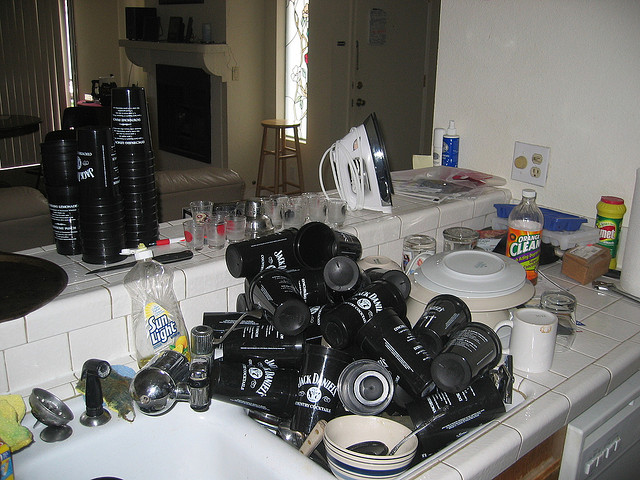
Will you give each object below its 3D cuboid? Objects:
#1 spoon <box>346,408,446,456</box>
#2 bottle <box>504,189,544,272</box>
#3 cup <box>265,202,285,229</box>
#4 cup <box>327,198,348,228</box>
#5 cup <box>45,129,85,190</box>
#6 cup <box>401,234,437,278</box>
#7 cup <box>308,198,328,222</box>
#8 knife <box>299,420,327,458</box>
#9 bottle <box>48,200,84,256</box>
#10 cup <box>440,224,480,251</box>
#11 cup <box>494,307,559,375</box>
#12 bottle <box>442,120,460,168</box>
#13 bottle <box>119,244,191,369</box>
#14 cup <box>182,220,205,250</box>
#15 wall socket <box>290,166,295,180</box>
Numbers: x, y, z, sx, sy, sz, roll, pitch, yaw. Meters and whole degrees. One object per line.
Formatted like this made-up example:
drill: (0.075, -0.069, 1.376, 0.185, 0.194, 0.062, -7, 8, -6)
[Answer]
spoon: (0.147, 0.368, 0.894, 0.151, 0.024, 0.092, -33, -8, 2)
bottle: (0.650, -0.031, 1.495, 0.101, 0.254, 0.131, 5, 18, 23)
cup: (-0.140, -0.085, 1.492, 0.064, 0.099, 0.072, -2, 12, 13)
cup: (0.051, -0.085, 1.465, 0.073, 0.101, 0.075, 1, 5, 0)
cup: (-0.637, -0.182, 1.163, 0.090, 0.141, 0.088, -4, -1, 0)
cup: (0.299, 0.067, 1.485, 0.088, 0.162, 0.095, 3, 23, -1)
cup: (-0.010, -0.101, 1.517, 0.070, 0.077, 0.083, 0, 5, -6)
knife: (-0.016, 0.381, 0.895, 0.027, 0.109, 0.026, 11, 33, -14)
bottle: (-0.643, -0.049, 1.227, 0.102, 0.168, 0.104, 0, 9, 0)
cup: (0.467, -0.008, 1.581, 0.098, 0.110, 0.098, 0, 10, 0)
cup: (0.489, 0.239, 1.147, 0.149, 0.125, 0.092, 7, 16, 37)
bottle: (0.547, -0.405, 1.961, 0.061, 0.182, 0.153, 5, 18, 22)
bottle: (-0.387, 0.181, 1.118, 0.125, 0.328, 0.087, -11, -3, -15)
cup: (-0.345, -0.015, 1.333, 0.065, 0.079, 0.069, 1, 15, 0)
wall socket: (-0.329, -0.795, 5.483, 0.017, 0.188, 0.128, -6, 14, -36)
